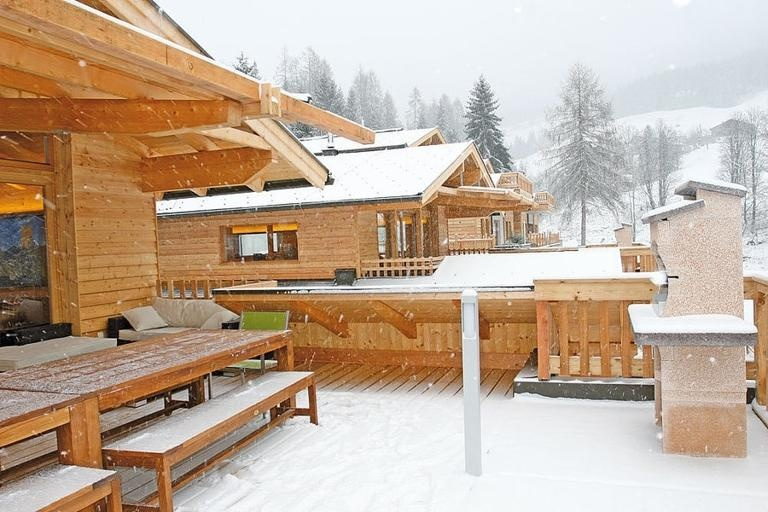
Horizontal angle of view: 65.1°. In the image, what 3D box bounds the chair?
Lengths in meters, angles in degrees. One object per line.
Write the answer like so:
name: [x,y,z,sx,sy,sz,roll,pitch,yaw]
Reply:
chair: [-1.618,1.021,8.384,0.775,0.836,0.743,4,-26,-30]
